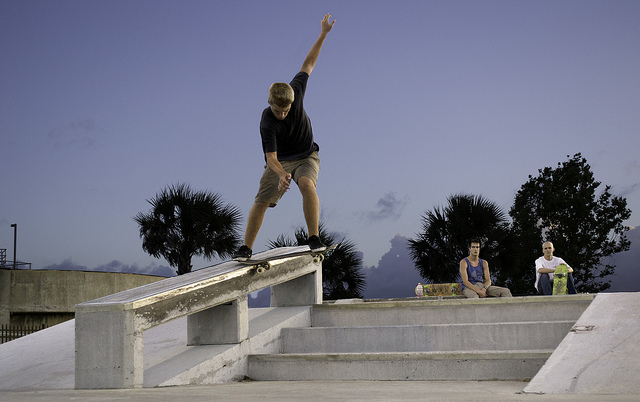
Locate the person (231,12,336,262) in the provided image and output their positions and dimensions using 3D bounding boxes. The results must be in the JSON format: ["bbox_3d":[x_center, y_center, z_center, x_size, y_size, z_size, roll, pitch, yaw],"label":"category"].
[{"bbox_3d":[-0.496,-0.929,8.440,1.501,3.591,0.945,-4,4,-10],"label":"person"}]

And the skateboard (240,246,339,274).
[{"bbox_3d":[-0.490,0.845,9.198,0.468,0.305,1.993,0,4,41],"label":"skateboard"}]

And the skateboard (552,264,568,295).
[{"bbox_3d":[4.721,1.548,11.380,0.279,0.548,0.293,-1,5,23],"label":"skateboard"}]
